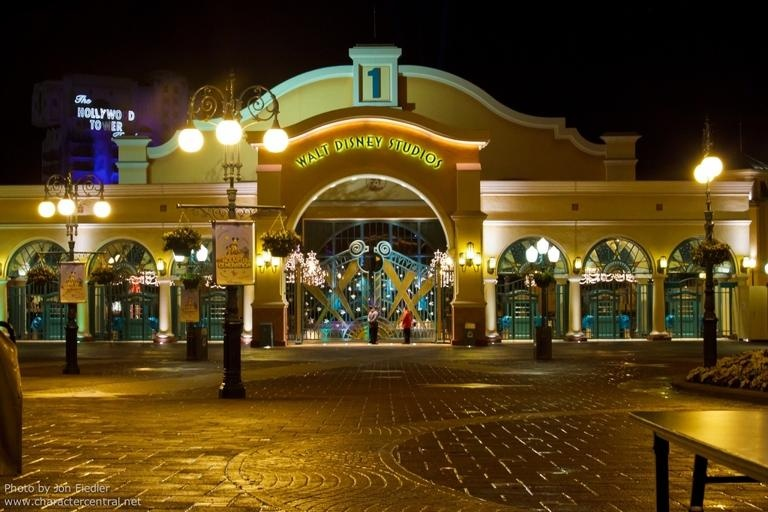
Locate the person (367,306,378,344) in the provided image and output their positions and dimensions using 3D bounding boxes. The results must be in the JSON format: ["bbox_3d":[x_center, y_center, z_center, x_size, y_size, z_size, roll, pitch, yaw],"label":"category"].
[{"bbox_3d":[-0.500,3.042,37.616,0.407,1.623,0.635,-1,-4,0],"label":"person"}]

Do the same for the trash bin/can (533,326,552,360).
[{"bbox_3d":[5.265,2.883,28.421,0.505,1.082,0.767,-2,-4,14],"label":"trash bin/can"}]
